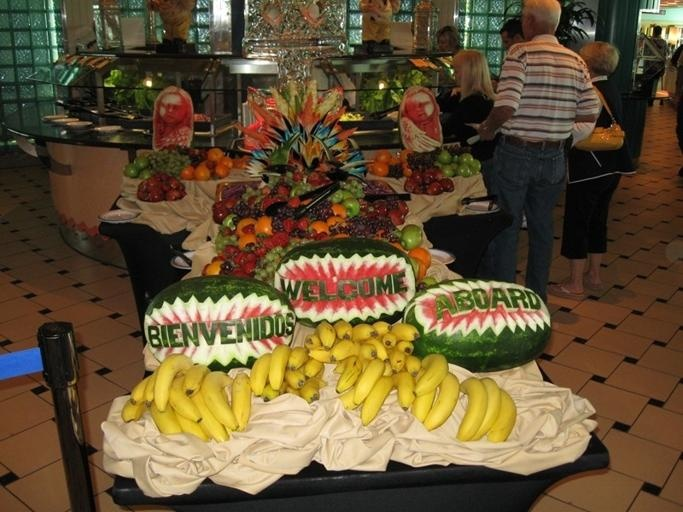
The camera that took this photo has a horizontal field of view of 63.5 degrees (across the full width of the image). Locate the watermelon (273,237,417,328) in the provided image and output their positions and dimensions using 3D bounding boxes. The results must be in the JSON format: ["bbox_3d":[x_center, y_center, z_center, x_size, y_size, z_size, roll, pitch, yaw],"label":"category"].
[{"bbox_3d":[0.016,0.100,1.989,0.514,0.291,0.283,-3,22,-8],"label":"watermelon"}]

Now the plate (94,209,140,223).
[{"bbox_3d":[-1.298,-0.236,3.251,0.209,0.056,0.212,0,15,5],"label":"plate"}]

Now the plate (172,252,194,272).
[{"bbox_3d":[-0.789,0.033,2.746,0.111,0.097,0.024,9,28,20],"label":"plate"}]

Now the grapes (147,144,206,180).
[{"bbox_3d":[-1.056,-0.597,3.499,0.245,0.135,0.267,-2,10,-3],"label":"grapes"}]

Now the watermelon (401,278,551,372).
[{"bbox_3d":[0.452,0.238,1.871,0.468,0.213,0.264,0,38,-4],"label":"watermelon"}]

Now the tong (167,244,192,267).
[{"bbox_3d":[-0.819,0.012,2.798,0.145,0.072,0.181,-10,22,-19],"label":"tong"}]

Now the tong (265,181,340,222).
[{"bbox_3d":[-0.148,-0.280,2.513,0.465,0.138,0.327,-2,19,-3],"label":"tong"}]

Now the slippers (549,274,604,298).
[{"bbox_3d":[2.044,0.267,4.758,0.415,0.132,0.209,-1,15,-4],"label":"slippers"}]

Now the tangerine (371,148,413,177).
[{"bbox_3d":[0.310,-0.581,3.599,0.256,0.088,0.226,-6,34,-6],"label":"tangerine"}]

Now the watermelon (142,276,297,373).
[{"bbox_3d":[-0.422,0.242,1.966,0.573,0.287,0.398,-5,11,-19],"label":"watermelon"}]
